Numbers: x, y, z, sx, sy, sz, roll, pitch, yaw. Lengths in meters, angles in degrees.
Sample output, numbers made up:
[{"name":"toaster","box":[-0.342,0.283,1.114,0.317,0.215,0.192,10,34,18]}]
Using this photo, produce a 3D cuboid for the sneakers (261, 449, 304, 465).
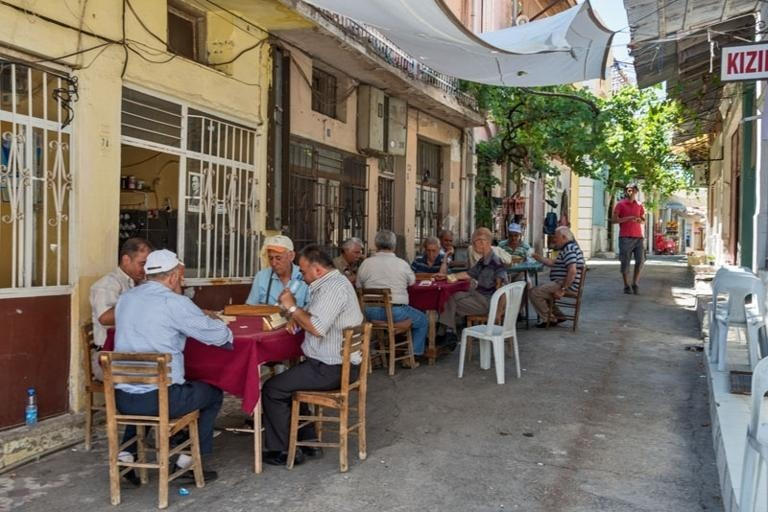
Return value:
[{"name":"sneakers","box":[-0.969,1.935,6.747,0.431,0.180,0.149,5,1,15]}]

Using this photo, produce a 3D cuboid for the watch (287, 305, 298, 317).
[{"name":"watch","box":[-0.911,0.534,6.773,0.077,0.042,0.101,18,-32,-32]}]

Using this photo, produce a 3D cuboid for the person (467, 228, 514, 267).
[{"name":"person","box":[1.619,-0.100,10.366,0.566,0.688,0.818,-10,11,-11]}]

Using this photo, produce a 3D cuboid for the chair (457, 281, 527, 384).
[{"name":"chair","box":[1.456,0.961,9.203,0.804,1.210,1.317,1,9,12]}]

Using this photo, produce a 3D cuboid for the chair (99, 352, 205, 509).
[{"name":"chair","box":[-2.087,1.484,6.201,0.865,1.344,0.666,-1,9,-4]}]

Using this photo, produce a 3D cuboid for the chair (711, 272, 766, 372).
[{"name":"chair","box":[4.099,0.725,7.984,0.545,1.176,0.760,4,10,26]}]

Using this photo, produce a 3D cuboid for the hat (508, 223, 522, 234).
[{"name":"hat","box":[2.418,-0.515,12.661,0.196,0.111,0.293,-1,0,13]}]

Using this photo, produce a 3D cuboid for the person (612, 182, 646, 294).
[{"name":"person","box":[5.465,-0.364,15.336,0.665,2.459,0.875,3,10,21]}]

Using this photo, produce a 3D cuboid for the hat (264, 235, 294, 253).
[{"name":"hat","box":[-1.155,-0.145,7.836,0.265,0.182,0.363,2,-4,16]}]

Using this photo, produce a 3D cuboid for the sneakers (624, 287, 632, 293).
[{"name":"sneakers","box":[5.583,0.759,15.695,0.084,0.183,0.254,4,8,29]}]

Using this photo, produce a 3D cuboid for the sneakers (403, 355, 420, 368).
[{"name":"sneakers","box":[0.362,1.454,9.573,0.239,0.156,0.140,-1,-1,41]}]

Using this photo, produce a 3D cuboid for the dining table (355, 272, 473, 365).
[{"name":"dining table","box":[0.538,0.880,9.808,1.087,0.854,1.120,0,-1,26]}]

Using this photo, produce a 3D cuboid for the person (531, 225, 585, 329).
[{"name":"person","box":[2.945,0.367,11.688,0.879,1.756,0.812,2,10,19]}]

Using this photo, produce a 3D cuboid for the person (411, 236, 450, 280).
[{"name":"person","box":[0.781,0.020,11.221,0.665,0.900,0.601,1,0,7]}]

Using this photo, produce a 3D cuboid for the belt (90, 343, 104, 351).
[{"name":"belt","box":[-2.919,0.908,6.981,0.099,0.086,0.079,-10,1,9]}]

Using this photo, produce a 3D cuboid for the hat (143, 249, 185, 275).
[{"name":"hat","box":[-2.027,0.038,6.402,0.198,0.149,0.283,3,10,25]}]

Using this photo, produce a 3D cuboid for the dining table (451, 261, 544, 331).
[{"name":"dining table","box":[2.312,0.600,12.960,1.499,1.223,1.363,-2,-6,24]}]

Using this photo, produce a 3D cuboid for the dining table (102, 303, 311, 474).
[{"name":"dining table","box":[-1.487,1.097,6.999,1.499,1.168,1.520,3,3,24]}]
